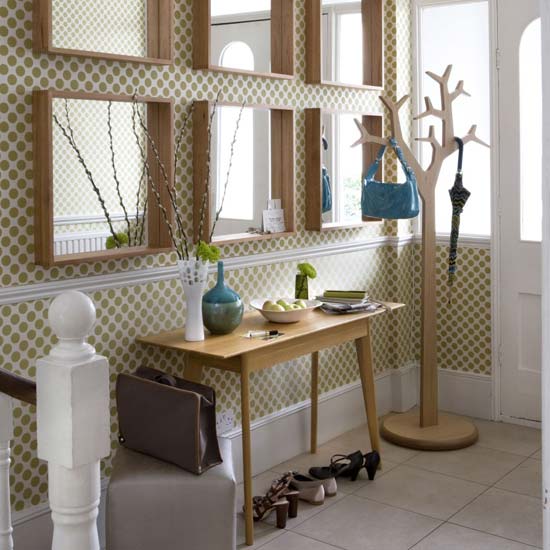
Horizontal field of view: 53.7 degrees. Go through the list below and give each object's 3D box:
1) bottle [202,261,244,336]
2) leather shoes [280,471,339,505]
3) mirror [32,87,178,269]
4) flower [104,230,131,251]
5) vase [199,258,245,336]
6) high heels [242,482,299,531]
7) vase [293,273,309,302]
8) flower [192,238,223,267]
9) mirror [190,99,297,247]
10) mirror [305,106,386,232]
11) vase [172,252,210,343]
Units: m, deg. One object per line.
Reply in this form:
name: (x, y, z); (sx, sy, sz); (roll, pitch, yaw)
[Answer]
bottle: (-0.244, 0.103, 2.519); (0.226, 0.474, 0.267); (0, -1, 4)
leather shoes: (0.186, 1.068, 2.842); (0.210, 0.102, 0.130); (6, 5, 39)
mirror: (-0.733, -0.417, 2.275); (0.094, 0.713, 0.628); (3, 6, 32)
flower: (-0.693, -0.150, 2.371); (0.054, 0.053, 0.072); (1, 12, 34)
vase: (-0.240, 0.107, 2.515); (0.227, 0.474, 0.267); (0, -1, 5)
high heels: (-0.022, 1.105, 2.663); (0.226, 0.122, 0.140); (2, 5, 32)
vase: (0.155, 0.069, 3.220); (0.090, 0.215, 0.104); (-1, 1, 0)
flower: (-0.311, -0.118, 2.492); (0.103, 0.125, 0.119); (8, 4, 22)
mirror: (-0.187, -0.550, 2.904); (0.125, 0.797, 0.705); (0, 2, 31)
mirror: (0.431, -0.670, 3.476); (0.105, 0.826, 0.694); (1, 4, 32)
vase: (-0.373, 0.104, 2.484); (0.130, 0.371, 0.187); (-1, 5, -8)
